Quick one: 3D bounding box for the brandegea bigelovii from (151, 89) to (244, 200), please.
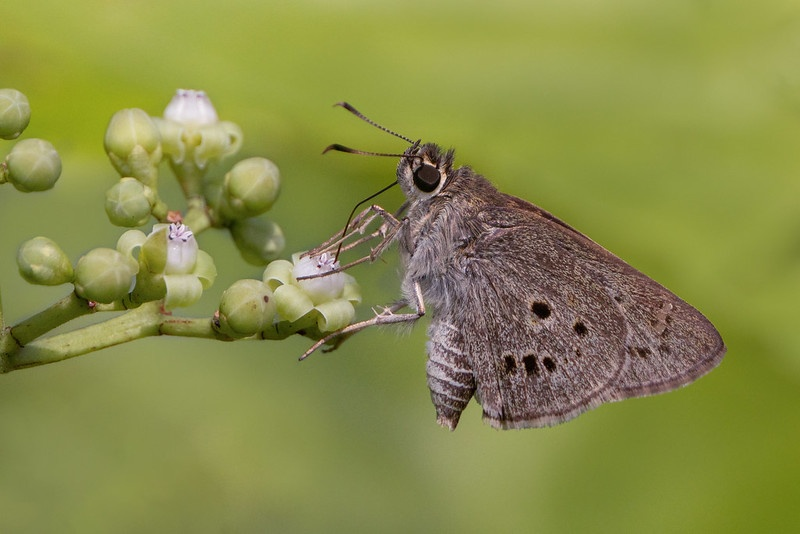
[{"bbox_3d":[-0.994,-0.594,4.477,0.461,0.548,0.450,4,1,-31],"label":"brandegea bigelovii"}]

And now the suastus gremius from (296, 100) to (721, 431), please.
[{"bbox_3d":[0.679,-0.061,5.557,2.095,1.663,2.663,-1,18,5],"label":"suastus gremius"}]

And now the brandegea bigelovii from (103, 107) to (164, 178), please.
[{"bbox_3d":[-1.241,-0.616,4.305,0.198,0.345,0.213,-15,18,-38],"label":"brandegea bigelovii"}]

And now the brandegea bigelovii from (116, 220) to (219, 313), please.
[{"bbox_3d":[-1.035,-0.052,4.104,0.435,0.383,0.337,-12,45,-40],"label":"brandegea bigelovii"}]
